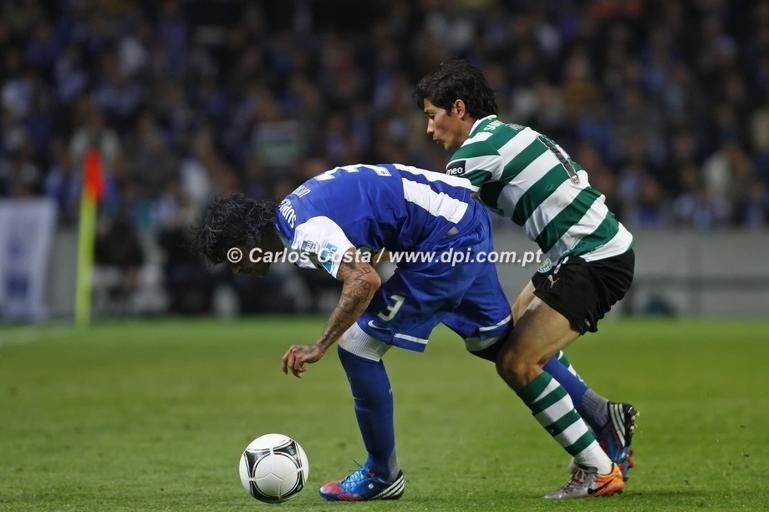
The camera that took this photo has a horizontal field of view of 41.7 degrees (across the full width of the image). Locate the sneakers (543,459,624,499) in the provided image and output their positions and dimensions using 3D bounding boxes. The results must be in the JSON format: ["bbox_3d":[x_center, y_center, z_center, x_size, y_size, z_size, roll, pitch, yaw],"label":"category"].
[{"bbox_3d":[1.703,1.817,8.256,0.621,0.294,0.213,-20,2,38],"label":"sneakers"}]

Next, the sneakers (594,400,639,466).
[{"bbox_3d":[1.962,1.463,8.437,0.261,0.642,0.207,-9,17,6],"label":"sneakers"}]

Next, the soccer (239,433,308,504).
[{"bbox_3d":[-0.864,1.735,8.239,0.485,0.507,0.504,38,-12,19],"label":"soccer"}]
